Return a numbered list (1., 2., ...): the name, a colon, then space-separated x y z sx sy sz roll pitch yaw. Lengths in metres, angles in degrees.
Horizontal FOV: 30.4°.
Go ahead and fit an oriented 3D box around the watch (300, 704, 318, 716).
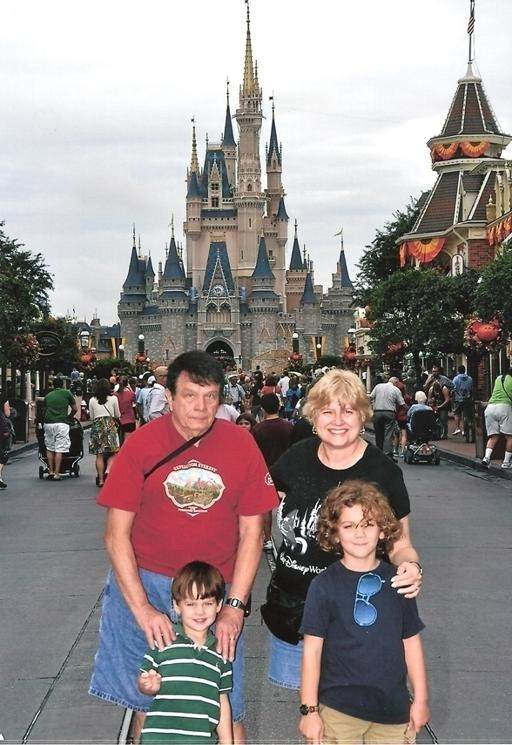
1. watch: 0.171 1.087 3.026 0.055 0.033 0.054 3 -18 -33
